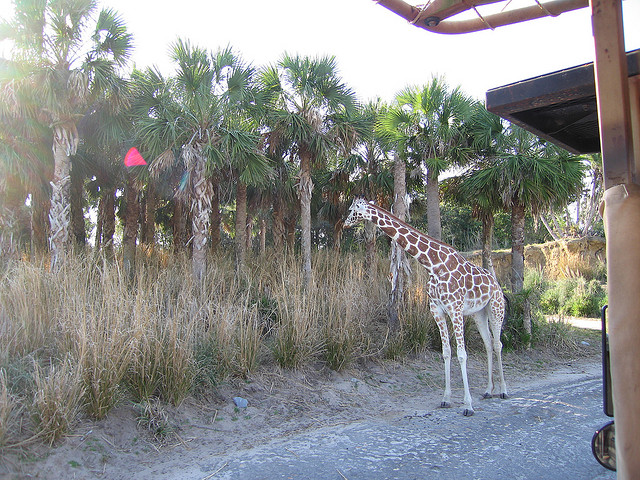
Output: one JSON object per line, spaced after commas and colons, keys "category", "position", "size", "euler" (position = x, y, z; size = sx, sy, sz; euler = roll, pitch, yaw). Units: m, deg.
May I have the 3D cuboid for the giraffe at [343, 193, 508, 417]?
{"category": "giraffe", "position": [1.675, 0.871, 8.351], "size": [2.131, 2.767, 1.240], "euler": [2, 5, 24]}
